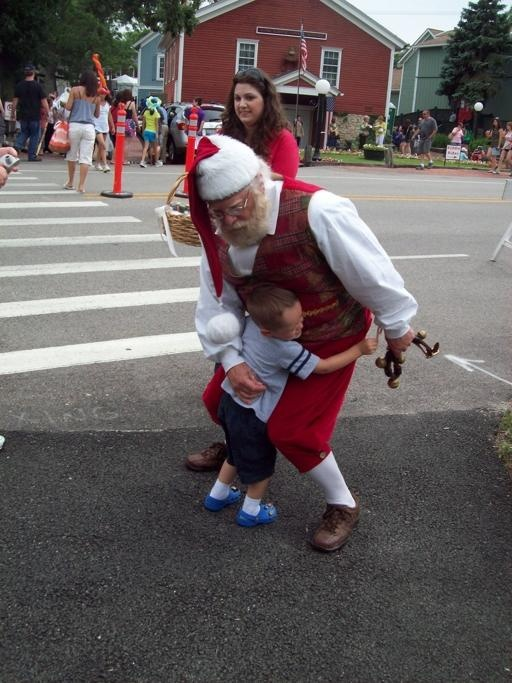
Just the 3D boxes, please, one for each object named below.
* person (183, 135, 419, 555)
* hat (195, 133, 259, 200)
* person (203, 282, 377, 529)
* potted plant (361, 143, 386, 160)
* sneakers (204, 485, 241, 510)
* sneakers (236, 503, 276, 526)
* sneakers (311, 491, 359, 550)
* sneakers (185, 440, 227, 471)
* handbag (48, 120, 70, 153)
[{"bbox_3d":[0.144,0.014,2.036,0.839,1.349,0.782,7,18,25],"label":"person"},{"bbox_3d":[-0.125,-0.546,1.731,0.189,0.173,0.245,-1,19,11],"label":"hat"},{"bbox_3d":[0.089,0.245,2.156,0.602,0.855,0.469,10,15,30],"label":"person"},{"bbox_3d":[5.935,-9.613,28.738,1.081,0.540,1.100,1,11,-3],"label":"potted plant"},{"bbox_3d":[-0.153,0.681,2.442,0.068,0.054,0.148,9,17,34],"label":"sneakers"},{"bbox_3d":[0.000,0.709,2.337,0.152,0.057,0.077,-10,21,-28],"label":"sneakers"},{"bbox_3d":[0.318,0.724,2.246,0.098,0.095,0.253,3,9,25],"label":"sneakers"},{"bbox_3d":[-0.229,0.549,2.706,0.215,0.083,0.092,-2,45,-32],"label":"sneakers"},{"bbox_3d":[-3.578,-3.735,10.212,0.336,0.572,0.712,-3,21,-19],"label":"handbag"}]
